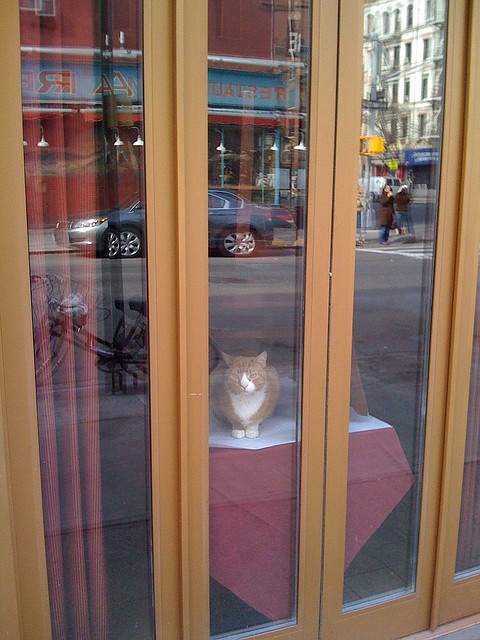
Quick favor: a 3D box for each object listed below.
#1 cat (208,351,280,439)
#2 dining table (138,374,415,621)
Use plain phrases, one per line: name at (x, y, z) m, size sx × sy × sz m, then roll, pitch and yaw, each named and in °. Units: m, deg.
cat at (0.017, 0.252, 2.064) m, size 0.195 × 0.288 × 0.321 m, roll 1°, pitch 3°, yaw 6°
dining table at (0.175, 0.639, 2.123) m, size 0.790 × 0.400 × 0.784 m, roll -5°, pitch 24°, yaw -20°
